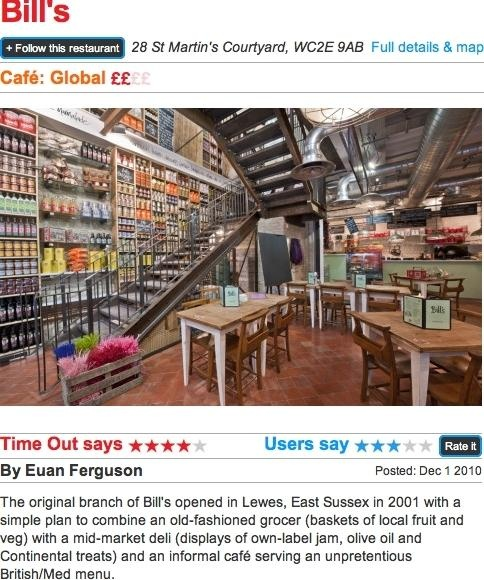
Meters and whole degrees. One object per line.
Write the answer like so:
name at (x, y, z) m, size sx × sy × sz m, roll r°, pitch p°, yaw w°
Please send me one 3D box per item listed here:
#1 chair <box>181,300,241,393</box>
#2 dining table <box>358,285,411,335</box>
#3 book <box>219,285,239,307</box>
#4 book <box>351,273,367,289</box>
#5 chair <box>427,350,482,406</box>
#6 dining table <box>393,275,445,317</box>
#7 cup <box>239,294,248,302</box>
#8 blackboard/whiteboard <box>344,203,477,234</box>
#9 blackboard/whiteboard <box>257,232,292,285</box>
chair at (-0.261, 0.406, 3.183) m, size 0.612 × 0.796 × 0.589 m, roll 1°, pitch 9°, yaw -2°
dining table at (1.738, 0.164, 5.050) m, size 0.610 × 0.697 × 0.607 m, roll 4°, pitch 10°, yaw 26°
book at (-0.096, 0.054, 3.567) m, size 0.217 × 0.201 × 0.158 m, roll 1°, pitch 8°, yaw -3°
book at (1.463, -0.126, 5.157) m, size 0.242 × 0.224 × 0.172 m, roll 1°, pitch 11°, yaw 3°
chair at (1.228, 0.495, 2.399) m, size 0.262 × 0.323 × 0.512 m, roll 0°, pitch -1°, yaw 24°
dining table at (1.864, 0.033, 4.336) m, size 0.319 × 0.422 × 0.480 m, roll -4°, pitch 9°, yaw -24°
cup at (0.019, 0.070, 3.791) m, size 0.071 × 0.048 × 0.069 m, roll -1°, pitch 11°, yaw 0°
blackboard/whiteboard at (4.474, -1.745, 10.353) m, size 0.743 × 0.720 × 2.882 m, roll 1°, pitch -1°, yaw -42°
blackboard/whiteboard at (0.445, -0.426, 5.638) m, size 0.042 × 0.536 × 0.835 m, roll -11°, pitch 5°, yaw 28°
